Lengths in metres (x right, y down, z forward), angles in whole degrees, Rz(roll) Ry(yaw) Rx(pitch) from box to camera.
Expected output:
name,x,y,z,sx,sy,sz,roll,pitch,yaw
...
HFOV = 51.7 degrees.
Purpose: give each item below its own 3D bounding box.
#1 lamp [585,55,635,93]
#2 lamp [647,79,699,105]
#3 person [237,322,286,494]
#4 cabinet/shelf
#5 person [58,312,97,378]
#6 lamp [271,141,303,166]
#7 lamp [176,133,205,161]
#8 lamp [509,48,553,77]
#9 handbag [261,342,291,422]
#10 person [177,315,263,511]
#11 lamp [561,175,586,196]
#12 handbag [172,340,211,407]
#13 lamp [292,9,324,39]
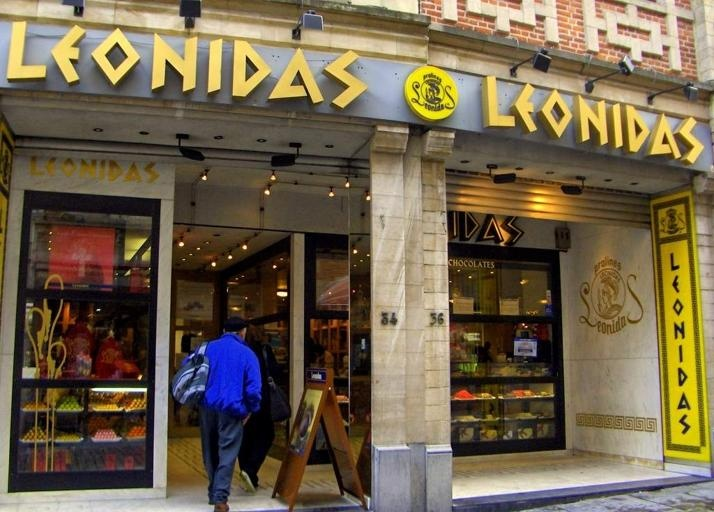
name,x,y,z,sx,sy,sz,roll,pitch,yaw
lamp,3.769,-2.652,10.936,0.744,0.528,0.434,0,-4,11
lamp,4.884,-2.521,11.367,0.397,0.272,0.700,0,3,-36
person,-1.297,2.083,10.515,1.138,2.308,0.642,-9,-14,41
cabinet/shelf,-0.798,1.446,10.760,4.123,1.840,1.180,3,-12,-21
person,-3.710,1.179,9.727,0.415,0.781,0.422,2,-1,-20
lamp,-0.987,-1.393,10.238,0.423,0.301,0.435,1,-4,-6
lamp,-2.265,-1.464,9.952,0.372,0.290,0.428,2,-4,-9
lamp,2.422,-2.740,10.433,0.337,0.358,0.594,8,2,-25
handbag,-1.041,1.779,10.529,0.482,1.074,0.536,4,0,-26
person,-1.669,1.885,9.181,0.840,2.070,1.163,-4,-6,42
lamp,3.476,-1.120,11.756,0.389,0.326,0.231,6,-7,-10
handbag,-2.078,1.467,9.222,0.454,0.732,0.440,5,-3,-34
lamp,-0.637,-2.981,9.431,0.416,0.404,0.304,1,-4,-5
